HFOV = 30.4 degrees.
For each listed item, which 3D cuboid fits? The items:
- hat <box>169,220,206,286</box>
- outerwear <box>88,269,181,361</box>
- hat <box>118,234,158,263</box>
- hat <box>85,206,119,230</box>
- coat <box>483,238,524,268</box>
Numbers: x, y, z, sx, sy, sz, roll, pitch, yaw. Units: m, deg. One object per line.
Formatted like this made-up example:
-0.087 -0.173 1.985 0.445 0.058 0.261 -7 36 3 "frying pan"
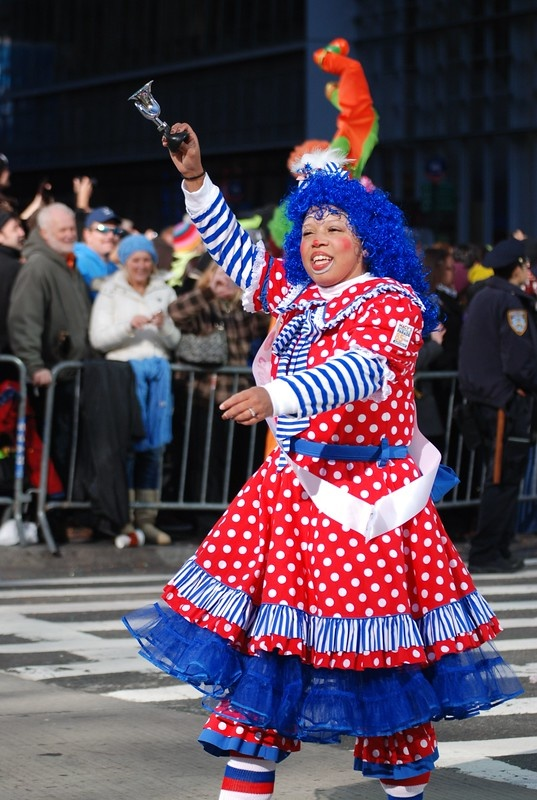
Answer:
-0.976 -1.665 11.331 0.442 0.392 1.245 -9 -32 -9 "hat"
-0.951 -0.582 6.988 0.709 0.647 0.452 7 -8 -32 "outerwear"
-0.948 -1.089 7.150 0.241 0.212 0.242 -2 2 -9 "hat"
-1.412 -1.548 8.364 0.210 0.163 0.303 10 -15 -26 "hat"
1.709 -1.096 7.139 0.256 0.093 0.215 -29 31 -26 "coat"
